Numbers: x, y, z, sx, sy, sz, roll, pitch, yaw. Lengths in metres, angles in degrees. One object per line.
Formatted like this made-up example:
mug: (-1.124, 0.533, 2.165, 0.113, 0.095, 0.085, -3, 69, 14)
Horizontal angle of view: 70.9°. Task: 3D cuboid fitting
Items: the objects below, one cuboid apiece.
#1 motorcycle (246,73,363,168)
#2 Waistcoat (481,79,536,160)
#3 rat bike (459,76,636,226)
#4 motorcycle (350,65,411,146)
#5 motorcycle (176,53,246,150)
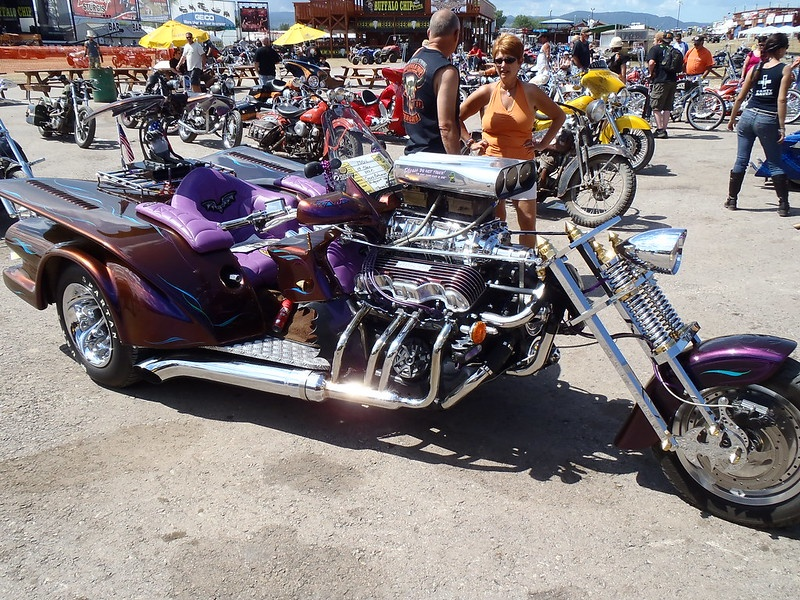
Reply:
motorcycle: (-2.108, -3.663, 11.574, 2.890, 1.476, 1.386, -6, 25, -40)
Waistcoat: (1.053, -1.677, 5.290, 0.429, 0.544, 0.302, 10, 24, 22)
rat bike: (2.123, -2.162, 8.079, 1.269, 1.799, 2.837, -8, 21, -24)
motorcycle: (-0.540, -4.301, 12.238, 1.181, 1.370, 2.264, 23, 34, 37)
motorcycle: (-4.443, -4.499, 13.120, 3.045, 1.875, 0.948, 21, 17, 41)
